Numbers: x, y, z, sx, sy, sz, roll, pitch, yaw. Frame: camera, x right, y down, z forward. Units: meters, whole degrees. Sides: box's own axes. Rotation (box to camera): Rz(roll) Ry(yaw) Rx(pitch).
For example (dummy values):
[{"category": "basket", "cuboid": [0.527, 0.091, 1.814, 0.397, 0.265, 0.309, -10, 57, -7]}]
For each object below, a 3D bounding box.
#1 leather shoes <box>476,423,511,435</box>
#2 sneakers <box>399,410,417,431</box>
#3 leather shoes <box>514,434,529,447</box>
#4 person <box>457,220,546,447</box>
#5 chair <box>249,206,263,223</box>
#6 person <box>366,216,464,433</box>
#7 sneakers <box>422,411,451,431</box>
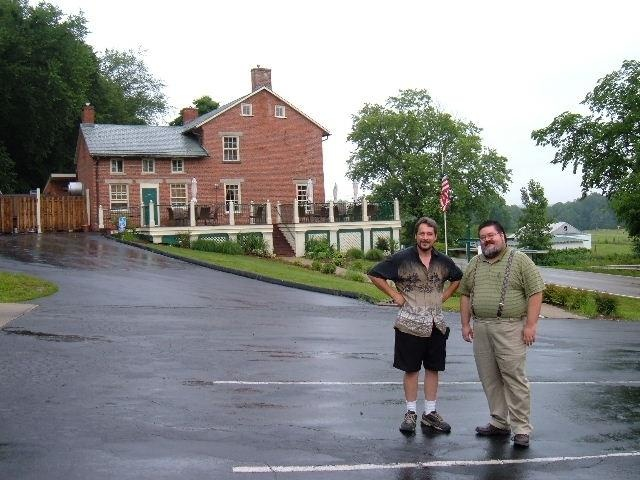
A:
[{"category": "leather shoes", "cuboid": [2.046, 2.277, 8.420, 0.390, 0.181, 0.154, 4, -4, -5]}, {"category": "sneakers", "cuboid": [1.048, 2.177, 8.437, 0.202, 0.224, 0.249, 0, -1, 4]}, {"category": "leather shoes", "cuboid": [2.318, 2.309, 8.147, 0.190, 0.124, 0.285, 0, -1, 15]}, {"category": "person", "cuboid": [2.165, 1.058, 8.638, 0.967, 2.628, 0.802, 0, -1, 31]}, {"category": "chair", "cuboid": [-3.675, -1.434, 39.042, 0.829, 1.284, 0.946, -1, 7, -16]}, {"category": "person", "cuboid": [1.200, 1.011, 8.695, 1.075, 2.581, 0.682, 0, -1, 6]}, {"category": "sneakers", "cuboid": [1.394, 2.196, 8.558, 0.406, 0.209, 0.280, 0, -1, 22]}]
